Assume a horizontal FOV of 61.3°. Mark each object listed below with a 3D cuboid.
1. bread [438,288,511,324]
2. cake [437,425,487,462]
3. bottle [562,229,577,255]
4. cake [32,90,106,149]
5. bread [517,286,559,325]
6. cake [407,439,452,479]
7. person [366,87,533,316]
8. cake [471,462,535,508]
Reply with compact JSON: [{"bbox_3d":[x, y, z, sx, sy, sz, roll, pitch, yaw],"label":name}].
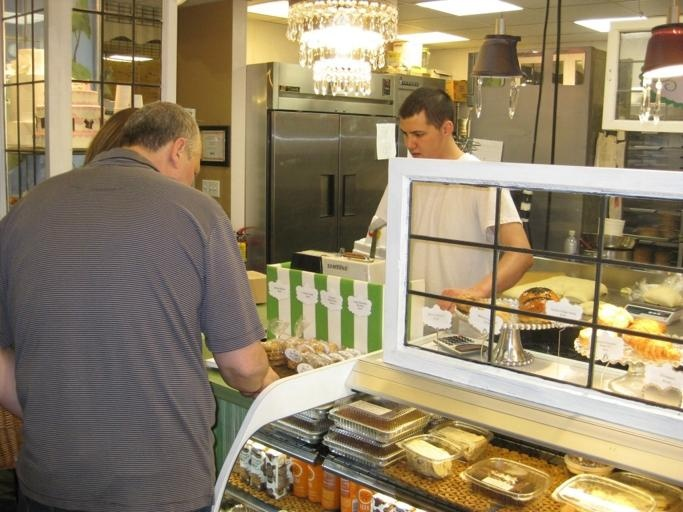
[{"bbox_3d":[0.331,0.125,1.499,0.121,0.036,0.086,9,0,34],"label":"bread"},{"bbox_3d":[0.300,0.453,1.420,0.119,0.041,0.082,13,23,43],"label":"cake"},{"bbox_3d":[0.533,-0.027,1.342,0.038,0.047,0.027,6,11,38],"label":"bottle"},{"bbox_3d":[-1.583,-0.809,3.495,0.377,0.352,0.375,1,8,2],"label":"cake"},{"bbox_3d":[0.471,0.118,1.399,0.085,0.068,0.086,-2,3,41],"label":"bread"},{"bbox_3d":[0.216,0.510,1.445,0.082,0.042,0.101,-16,19,-41],"label":"cake"},{"bbox_3d":[0.305,-0.312,2.037,0.448,0.732,1.346,0,9,4],"label":"person"},{"bbox_3d":[0.387,0.540,1.381,0.112,0.033,0.083,13,27,38],"label":"cake"}]
